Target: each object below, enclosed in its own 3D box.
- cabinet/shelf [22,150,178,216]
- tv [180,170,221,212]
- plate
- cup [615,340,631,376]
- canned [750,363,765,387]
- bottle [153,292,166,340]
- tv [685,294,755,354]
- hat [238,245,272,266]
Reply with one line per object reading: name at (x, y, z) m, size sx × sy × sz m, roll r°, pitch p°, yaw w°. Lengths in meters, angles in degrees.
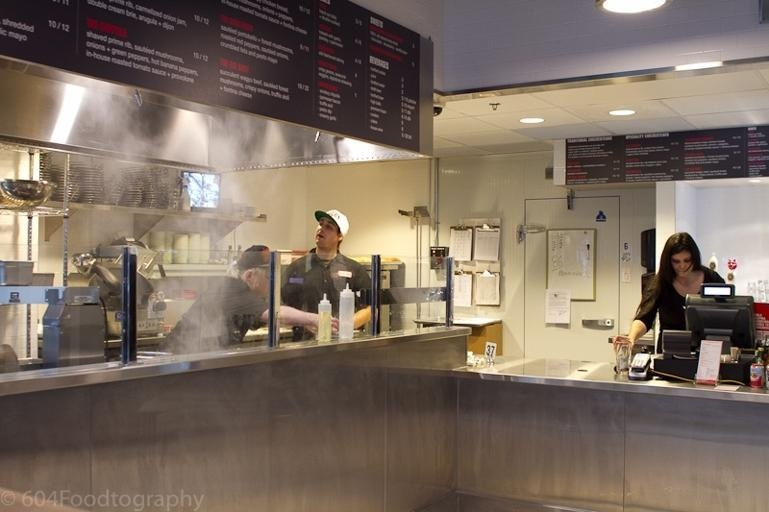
cabinet/shelf at (-2.091, -0.557, 4.605) m, size 0.317 × 0.398 × 1.138 m, roll 9°, pitch 8°, yaw 37°
tv at (-1.359, -0.513, 4.923) m, size 0.400 × 0.340 × 0.202 m, roll 7°, pitch 9°, yaw 31°
plate at (-1.899, -0.536, 4.596) m, size 0.757 × 0.382 × 0.285 m, roll 2°, pitch -1°, yaw -30°
cup at (1.542, 0.654, 3.996) m, size 0.088 × 0.189 × 0.093 m, roll 1°, pitch -1°, yaw 0°
canned at (2.174, 0.689, 3.601) m, size 0.122 × 0.140 × 0.069 m, roll 2°, pitch -1°, yaw -11°
bottle at (-0.991, 0.256, 2.764) m, size 0.028 × 0.178 × 0.075 m, roll 1°, pitch -1°, yaw 29°
tv at (2.119, 0.440, 3.893) m, size 0.215 × 0.341 × 0.369 m, roll 0°, pitch -2°, yaw -43°
hat at (-0.645, -0.003, 3.101) m, size 0.081 × 0.075 × 0.127 m, roll 10°, pitch 21°, yaw 40°
